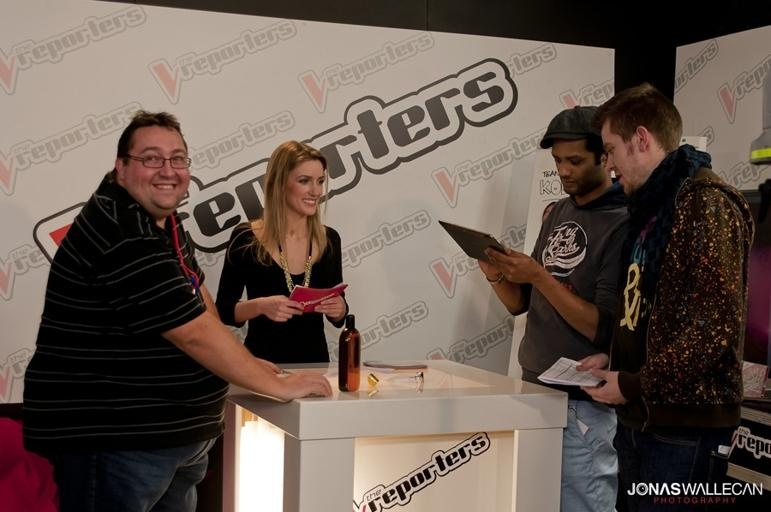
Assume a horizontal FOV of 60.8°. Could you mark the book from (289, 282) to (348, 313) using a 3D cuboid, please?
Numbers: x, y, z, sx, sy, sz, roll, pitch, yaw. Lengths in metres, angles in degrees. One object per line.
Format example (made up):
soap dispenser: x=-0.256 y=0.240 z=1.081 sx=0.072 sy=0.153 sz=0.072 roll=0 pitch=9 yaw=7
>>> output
book: x=-0.353 y=0.215 z=3.342 sx=0.282 sy=0.044 sz=0.202 roll=3 pitch=-30 yaw=-39

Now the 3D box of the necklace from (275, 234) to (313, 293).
necklace: x=-0.501 y=0.040 z=3.696 sx=0.137 sy=0.305 sz=0.173 roll=0 pitch=10 yaw=27

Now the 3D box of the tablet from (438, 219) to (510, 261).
tablet: x=0.434 y=-0.074 z=3.111 sx=0.284 sy=0.211 sz=0.275 roll=-12 pitch=-6 yaw=29
